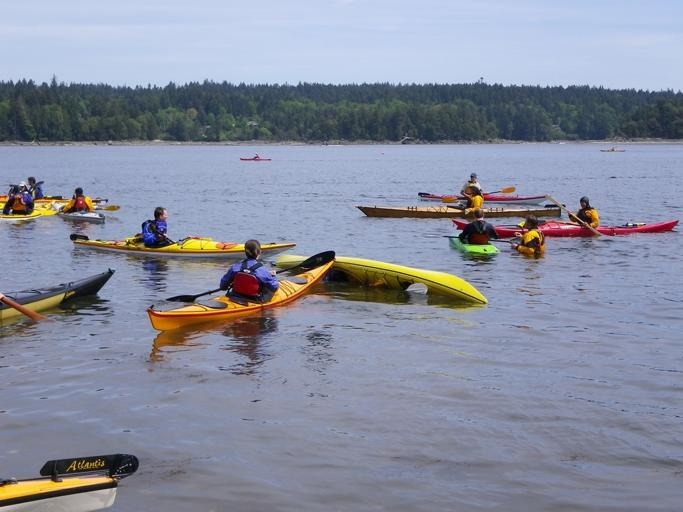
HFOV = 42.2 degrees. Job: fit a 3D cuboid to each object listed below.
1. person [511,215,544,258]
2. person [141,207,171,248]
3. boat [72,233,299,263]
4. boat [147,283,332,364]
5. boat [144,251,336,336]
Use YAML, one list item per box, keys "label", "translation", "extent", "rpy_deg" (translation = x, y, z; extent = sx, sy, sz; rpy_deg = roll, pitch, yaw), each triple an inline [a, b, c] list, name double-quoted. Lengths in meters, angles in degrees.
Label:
- label: "person"
  translation: [5.475, -0.608, 25.294]
  extent: [0.763, 1.172, 1.052]
  rpy_deg: [-1, 14, -2]
- label: "person"
  translation: [-5.086, -0.807, 24.146]
  extent: [0.740, 1.179, 1.337]
  rpy_deg: [-6, 14, -16]
- label: "boat"
  translation: [-4.468, -0.198, 24.737]
  extent: [6.773, 0.454, 0.906]
  rpy_deg: [2, 18, 6]
- label: "boat"
  translation: [-2.090, 1.196, 17.873]
  extent: [0.977, 0.768, 5.350]
  rpy_deg: [24, 27, 39]
- label: "boat"
  translation: [-1.554, 0.733, 18.992]
  extent: [1.356, 0.621, 6.084]
  rpy_deg: [18, 19, 36]
